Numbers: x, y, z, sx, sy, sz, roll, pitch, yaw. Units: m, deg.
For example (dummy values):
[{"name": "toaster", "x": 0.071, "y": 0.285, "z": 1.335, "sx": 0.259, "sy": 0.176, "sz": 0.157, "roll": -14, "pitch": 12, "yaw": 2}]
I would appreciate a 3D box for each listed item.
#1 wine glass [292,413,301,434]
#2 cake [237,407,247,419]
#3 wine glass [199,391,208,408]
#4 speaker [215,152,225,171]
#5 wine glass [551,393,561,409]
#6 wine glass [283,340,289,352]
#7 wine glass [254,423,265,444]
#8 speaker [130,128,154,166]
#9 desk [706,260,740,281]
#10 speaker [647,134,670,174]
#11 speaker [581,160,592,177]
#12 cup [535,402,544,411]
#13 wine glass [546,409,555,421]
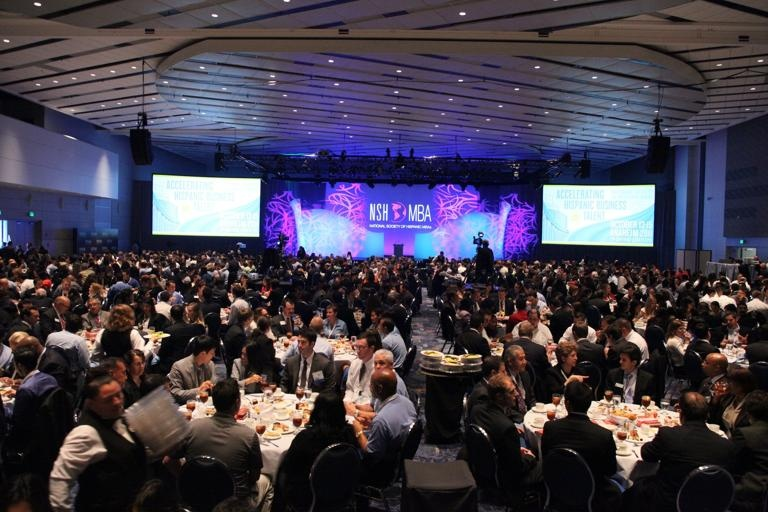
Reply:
[{"name": "wine glass", "x": -1.096, "y": 2.135, "z": 7.387, "sx": 0.168, "sy": 0.234, "sz": 0.154, "roll": 1, "pitch": 1, "yaw": -3}, {"name": "cake", "x": -1.823, "y": 2.026, "z": 7.451, "sx": 0.177, "sy": 0.157, "sz": 0.050, "roll": -2, "pitch": -24, "yaw": 5}, {"name": "wine glass", "x": -2.372, "y": 1.900, "z": 7.655, "sx": 0.150, "sy": 0.211, "sz": 0.143, "roll": 1, "pitch": -1, "yaw": -2}, {"name": "speaker", "x": -7.272, "y": -4.212, "z": 25.610, "sx": 0.325, "sy": 0.990, "sz": 1.022, "roll": -2, "pitch": 0, "yaw": -3}, {"name": "wine glass", "x": 2.403, "y": 2.018, "z": 8.065, "sx": 0.169, "sy": 0.287, "sz": 0.151, "roll": 0, "pitch": 6, "yaw": 14}, {"name": "wine glass", "x": -1.718, "y": 1.573, "z": 10.161, "sx": 0.142, "sy": 0.137, "sz": 0.136, "roll": 1, "pitch": 0, "yaw": -14}, {"name": "wine glass", "x": -1.492, "y": 2.172, "z": 7.126, "sx": 0.151, "sy": 0.211, "sz": 0.150, "roll": 3, "pitch": 5, "yaw": 21}, {"name": "speaker", "x": -7.013, "y": -3.273, "z": 16.786, "sx": 0.502, "sy": 1.316, "sz": 2.243, "roll": 0, "pitch": 0, "yaw": -23}, {"name": "desk", "x": 11.914, "y": 0.501, "z": 20.309, "sx": 0.793, "sy": 0.526, "sz": 0.795, "roll": 0, "pitch": 0, "yaw": 29}, {"name": "speaker", "x": 7.403, "y": -2.826, "z": 15.664, "sx": 0.525, "sy": 1.102, "sz": 1.304, "roll": 1, "pitch": 0, "yaw": 24}, {"name": "speaker", "x": 7.842, "y": -3.475, "z": 22.604, "sx": 0.343, "sy": 0.660, "sz": 0.731, "roll": 1, "pitch": 0, "yaw": 14}, {"name": "cup", "x": 2.108, "y": 2.056, "z": 7.890, "sx": 0.103, "sy": 0.044, "sz": 0.099, "roll": -9, "pitch": -6, "yaw": -1}, {"name": "wine glass", "x": 2.172, "y": 2.082, "z": 7.565, "sx": 0.134, "sy": 0.136, "sz": 0.125, "roll": -2, "pitch": -1, "yaw": 7}]
